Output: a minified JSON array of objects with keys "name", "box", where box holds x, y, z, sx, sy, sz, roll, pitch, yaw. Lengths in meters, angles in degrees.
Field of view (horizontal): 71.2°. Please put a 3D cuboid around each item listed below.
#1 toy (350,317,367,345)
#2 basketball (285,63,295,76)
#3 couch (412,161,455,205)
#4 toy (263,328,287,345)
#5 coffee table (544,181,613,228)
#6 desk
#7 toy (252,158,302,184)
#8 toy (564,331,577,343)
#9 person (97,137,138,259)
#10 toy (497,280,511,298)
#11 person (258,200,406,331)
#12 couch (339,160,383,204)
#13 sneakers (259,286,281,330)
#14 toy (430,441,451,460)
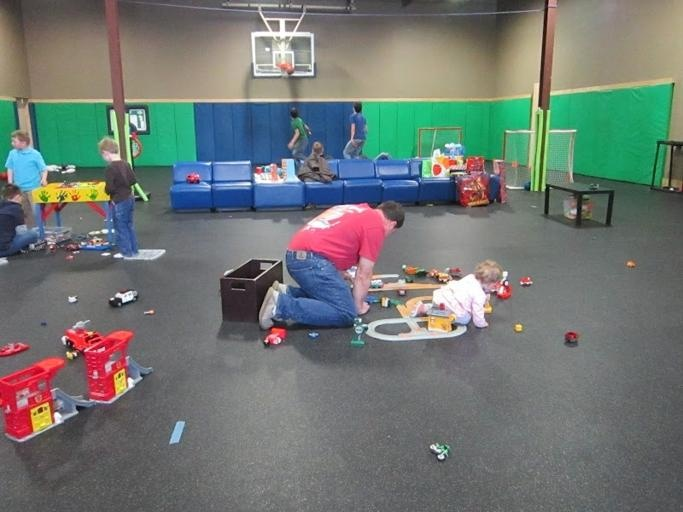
[{"name":"toy","box":[0.121,0.575,3.586,0.097,0.060,0.183,-1,27,2]},{"name":"basketball","box":[-1.437,-5.176,13.228,0.233,0.279,0.354,-4,15,-9]},{"name":"couch","box":[1.708,-1.262,8.937,0.719,0.489,0.561,-3,17,-8]},{"name":"toy","box":[-0.486,0.598,3.538,0.088,0.047,0.133,3,11,13]},{"name":"coffee table","box":[3.376,-0.725,6.897,0.952,0.498,0.658,-1,7,-34]},{"name":"desk","box":[-3.534,-0.503,6.251,0.908,0.965,0.550,-1,23,-8]},{"name":"toy","box":[-1.163,-1.461,8.523,0.593,0.402,0.616,0,13,-7]},{"name":"toy","box":[1.681,0.601,3.498,0.087,0.064,0.088,3,16,20]},{"name":"person","box":[-2.529,-0.677,5.508,0.348,1.341,0.529,-9,16,-24]},{"name":"toy","box":[1.410,0.298,4.185,0.137,0.174,0.091,4,14,14]},{"name":"person","box":[-0.075,0.086,3.920,1.279,0.989,0.729,-6,20,-30]},{"name":"couch","box":[0.369,-1.315,8.769,0.754,0.885,0.828,0,8,-7]},{"name":"sneakers","box":[-0.549,0.416,3.624,0.135,0.366,0.121,10,35,3]},{"name":"toy","box":[0.510,1.022,2.487,0.106,0.048,0.097,0,15,7]}]
